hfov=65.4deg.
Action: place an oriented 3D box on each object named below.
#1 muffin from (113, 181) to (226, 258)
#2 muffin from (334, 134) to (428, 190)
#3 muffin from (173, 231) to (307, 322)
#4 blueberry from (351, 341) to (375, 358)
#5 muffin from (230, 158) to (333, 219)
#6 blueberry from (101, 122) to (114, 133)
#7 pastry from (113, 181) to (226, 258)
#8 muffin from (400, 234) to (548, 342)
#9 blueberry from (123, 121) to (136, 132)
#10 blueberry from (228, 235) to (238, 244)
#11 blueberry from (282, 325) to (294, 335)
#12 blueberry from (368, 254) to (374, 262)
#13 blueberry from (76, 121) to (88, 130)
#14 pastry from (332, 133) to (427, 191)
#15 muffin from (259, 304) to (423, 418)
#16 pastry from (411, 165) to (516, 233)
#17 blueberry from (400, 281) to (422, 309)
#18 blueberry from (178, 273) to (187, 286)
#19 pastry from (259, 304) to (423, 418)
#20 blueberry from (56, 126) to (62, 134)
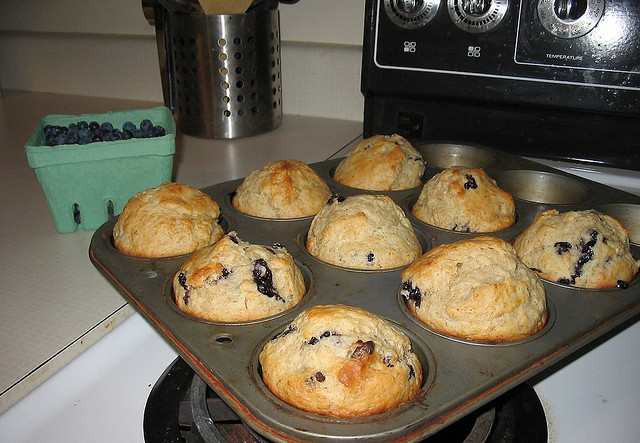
[{"bbox_3d":[-0.428,-0.001,1.403,0.172,0.148,0.272,4,24,17],"label":"muffin"},{"bbox_3d":[0.200,-0.243,1.774,0.265,0.200,0.367,-14,21,-27],"label":"muffin"},{"bbox_3d":[-0.210,0.132,1.316,0.345,0.152,0.358,10,16,37],"label":"muffin"},{"bbox_3d":[0.088,0.255,0.992,0.041,0.015,0.024,-30,71,-5],"label":"blueberry"},{"bbox_3d":[-0.114,-0.127,1.693,0.363,0.161,0.370,14,-11,-28],"label":"muffin"},{"bbox_3d":[-0.762,-0.339,1.774,0.047,0.018,0.050,5,46,-13],"label":"blueberry"},{"bbox_3d":[-0.442,-0.018,1.489,0.333,0.122,0.370,11,24,16],"label":"pastry"},{"bbox_3d":[0.373,0.162,1.187,0.344,0.134,0.251,2,38,-5],"label":"muffin"},{"bbox_3d":[-0.681,-0.338,1.789,0.047,0.018,0.049,3,-6,14],"label":"blueberry"},{"bbox_3d":[-0.216,0.044,1.264,0.013,0.006,0.022,-14,51,-39],"label":"blueberry"},{"bbox_3d":[-0.070,0.241,1.105,0.012,0.013,0.060,7,10,14],"label":"blueberry"},{"bbox_3d":[0.137,0.096,1.337,0.015,0.015,0.014,7,37,2],"label":"blueberry"},{"bbox_3d":[-0.831,-0.338,1.744,0.028,0.014,0.039,10,39,-9],"label":"blueberry"},{"bbox_3d":[0.198,-0.246,1.774,0.268,0.203,0.372,-14,21,-28],"label":"pastry"},{"bbox_3d":[0.046,0.287,1.024,0.339,0.114,0.203,0,38,-7],"label":"muffin"},{"bbox_3d":[0.425,-0.101,1.603,0.304,0.196,0.305,-9,21,-18],"label":"pastry"},{"bbox_3d":[0.225,0.174,1.205,0.040,0.020,0.057,-7,37,10],"label":"blueberry"},{"bbox_3d":[-0.336,0.142,1.219,0.017,0.011,0.025,-9,57,14],"label":"blueberry"},{"bbox_3d":[0.021,0.254,1.085,0.248,0.190,0.339,9,19,36],"label":"pastry"},{"bbox_3d":[-0.903,-0.317,1.720,0.021,0.010,0.030,-3,39,-24],"label":"blueberry"}]
